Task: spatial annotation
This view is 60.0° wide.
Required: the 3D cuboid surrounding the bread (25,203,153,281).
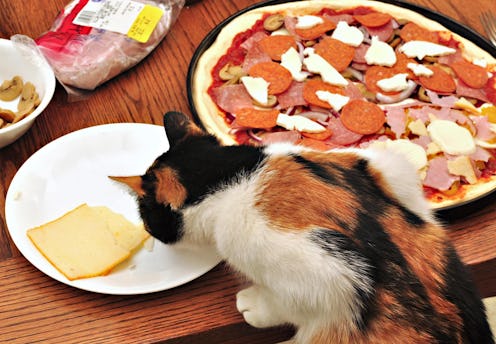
[{"bbox_3d":[-0.340,0.139,0.949,0.231,0.042,0.165,-23,70,-41],"label":"bread"}]
